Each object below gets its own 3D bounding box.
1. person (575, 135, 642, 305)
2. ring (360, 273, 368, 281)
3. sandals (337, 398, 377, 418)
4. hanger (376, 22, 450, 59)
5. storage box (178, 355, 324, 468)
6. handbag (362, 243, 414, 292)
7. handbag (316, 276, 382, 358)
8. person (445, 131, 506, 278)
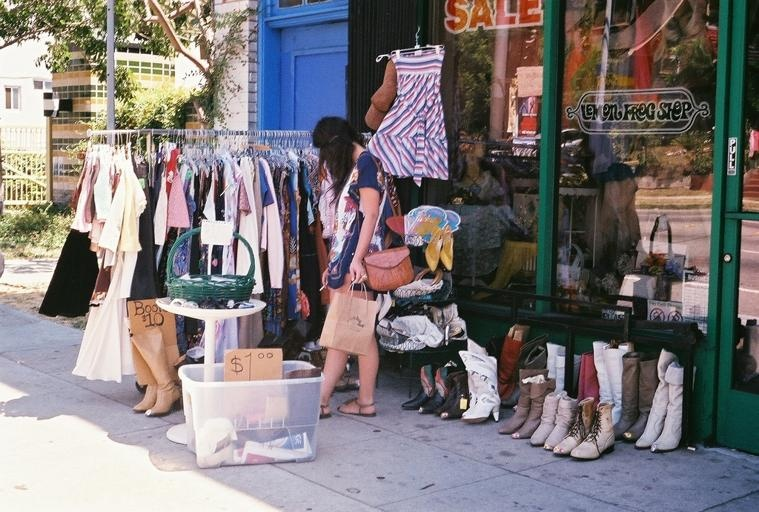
[{"bbox_3d":[1.868,-0.319,5.788,0.462,1.276,0.272,4,10,19],"label":"person"},{"bbox_3d":[-0.101,0.156,5.263,0.037,0.027,0.046,41,-27,-26],"label":"ring"},{"bbox_3d":[-0.157,1.212,5.617,0.260,0.114,0.132,5,2,27],"label":"sandals"},{"bbox_3d":[0.302,-1.869,6.231,0.413,0.333,0.840,0,10,-3],"label":"hanger"},{"bbox_3d":[-0.846,1.067,4.877,0.797,0.508,0.557,0,1,-16],"label":"storage box"},{"bbox_3d":[0.059,0.086,5.319,0.305,0.278,0.112,-16,6,-17],"label":"handbag"},{"bbox_3d":[-0.200,0.453,5.398,0.460,0.745,0.254,16,7,-14],"label":"handbag"},{"bbox_3d":[0.864,-0.417,6.332,0.572,1.171,0.263,6,4,30],"label":"person"}]
